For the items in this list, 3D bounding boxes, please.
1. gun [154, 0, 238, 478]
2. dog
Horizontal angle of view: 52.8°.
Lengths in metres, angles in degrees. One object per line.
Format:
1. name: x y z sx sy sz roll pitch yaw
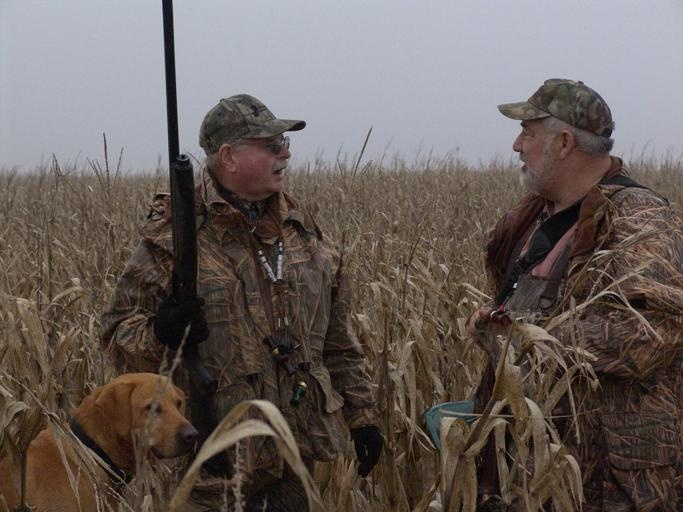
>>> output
1. gun: -0.697 0.244 3.297 0.326 2.336 0.084 12 21 32
2. dog: -1.068 0.886 3.044 0.847 0.617 0.668 1 5 -13
